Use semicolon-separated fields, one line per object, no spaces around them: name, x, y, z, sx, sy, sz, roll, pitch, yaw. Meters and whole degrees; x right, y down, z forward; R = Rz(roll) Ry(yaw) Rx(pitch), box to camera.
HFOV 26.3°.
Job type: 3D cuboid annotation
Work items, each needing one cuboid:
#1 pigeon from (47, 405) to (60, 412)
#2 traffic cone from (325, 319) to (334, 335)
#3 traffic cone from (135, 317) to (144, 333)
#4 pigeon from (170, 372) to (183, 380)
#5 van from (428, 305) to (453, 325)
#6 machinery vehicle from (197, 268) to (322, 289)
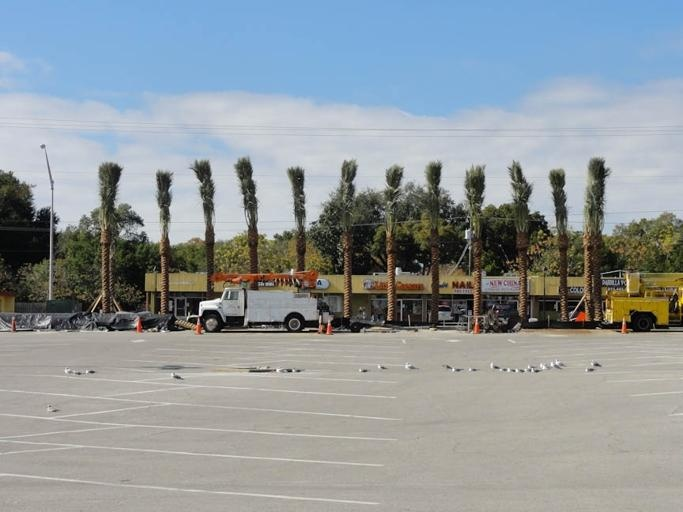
pigeon;-11.928;6.177;59.645;0.332;0.240;0.244;10;7;32
traffic cone;-0.960;4.172;85.705;0.547;0.780;0.604;-1;-6;6
traffic cone;-12.108;4.015;86.579;0.661;0.902;0.644;6;-6;-38
pigeon;-7.340;5.207;64.128;0.634;0.360;0.220;4;8;23
van;7.549;4.237;107.641;1.141;0.982;2.000;1;4;2
machinery vehicle;-5.521;1.474;98.438;7.562;1.768;1.323;1;4;9
